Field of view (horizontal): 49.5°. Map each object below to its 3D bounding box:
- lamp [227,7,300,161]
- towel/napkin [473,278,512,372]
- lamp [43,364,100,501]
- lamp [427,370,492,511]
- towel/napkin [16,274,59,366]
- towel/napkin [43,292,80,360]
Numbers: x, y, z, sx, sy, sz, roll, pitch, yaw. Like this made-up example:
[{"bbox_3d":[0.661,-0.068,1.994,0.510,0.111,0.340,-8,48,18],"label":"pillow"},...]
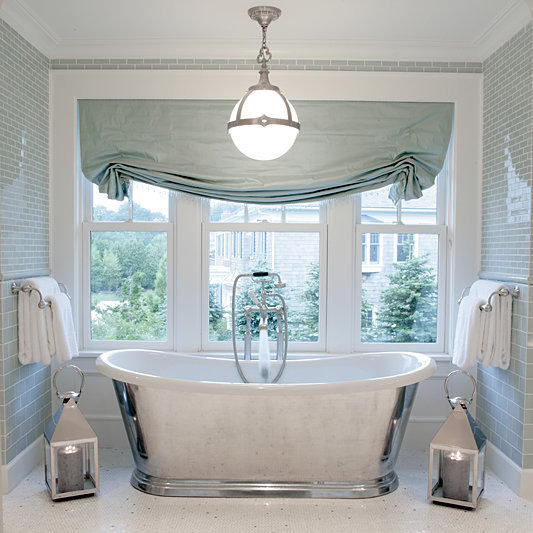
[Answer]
[{"bbox_3d":[0.000,-0.950,3.033,0.349,0.771,0.604,1,8,5],"label":"lamp"},{"bbox_3d":[1.300,0.326,3.290,0.181,0.472,0.238,3,8,19],"label":"towel/napkin"},{"bbox_3d":[-1.099,0.859,3.187,0.271,0.664,0.622,-3,9,-22],"label":"lamp"},{"bbox_3d":[1.048,0.883,3.132,0.279,0.638,0.559,3,8,22],"label":"lamp"},{"bbox_3d":[-1.289,0.300,3.328,0.171,0.471,0.340,2,8,16],"label":"towel/napkin"},{"bbox_3d":[-1.207,0.349,3.362,0.114,0.464,0.389,-6,-4,2],"label":"towel/napkin"}]
